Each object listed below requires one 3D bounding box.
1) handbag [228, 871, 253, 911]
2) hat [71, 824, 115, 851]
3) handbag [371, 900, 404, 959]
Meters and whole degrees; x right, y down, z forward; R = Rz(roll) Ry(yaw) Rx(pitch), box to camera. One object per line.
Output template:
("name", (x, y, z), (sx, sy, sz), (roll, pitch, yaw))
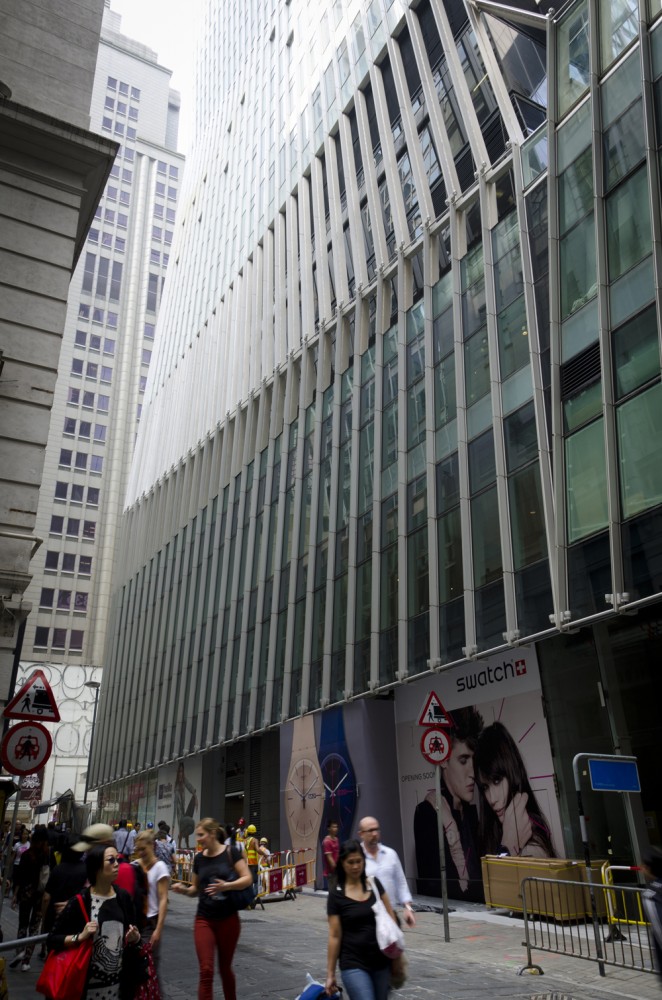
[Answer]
("handbag", (-0.621, 2.796, 4.425), (0.125, 0.140, 0.370), (-4, -22, 5))
("hat", (-1.285, 1.814, 3.359), (0.251, 0.164, 0.187), (3, -23, -26))
("handbag", (0.266, 2.022, 2.962), (0.128, 0.210, 0.219), (-8, -21, 16))
